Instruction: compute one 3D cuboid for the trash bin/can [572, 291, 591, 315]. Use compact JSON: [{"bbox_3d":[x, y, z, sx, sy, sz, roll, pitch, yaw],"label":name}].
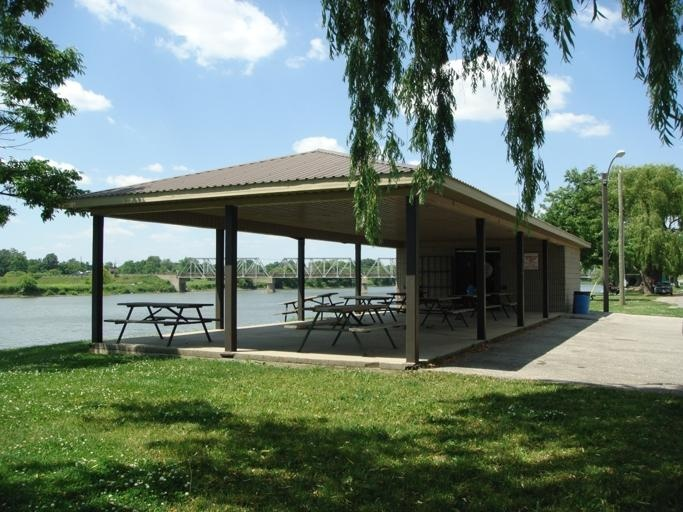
[{"bbox_3d":[8.559,1.674,22.128,0.650,0.805,0.745,-5,-9,26],"label":"trash bin/can"}]
